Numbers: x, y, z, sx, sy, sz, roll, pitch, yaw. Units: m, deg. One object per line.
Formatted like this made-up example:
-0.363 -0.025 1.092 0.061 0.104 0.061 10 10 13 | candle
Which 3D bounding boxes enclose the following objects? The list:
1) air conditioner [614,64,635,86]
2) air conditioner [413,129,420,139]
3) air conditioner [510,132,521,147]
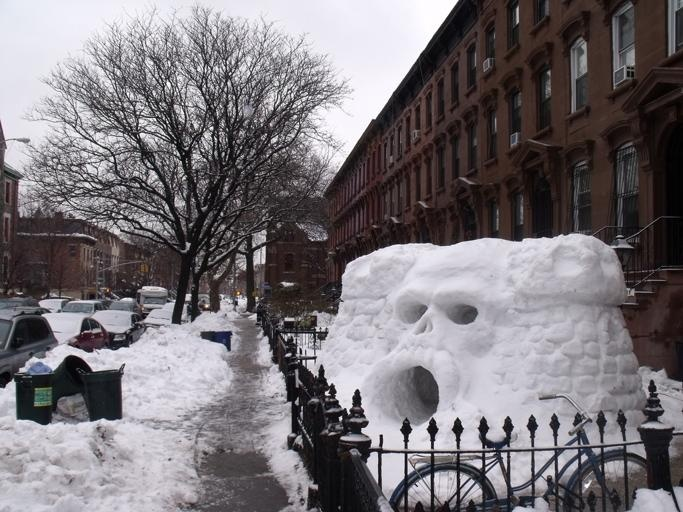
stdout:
7.546 -4.650 18.317 0.349 0.538 0.680 1 -6 -2 | air conditioner
3.726 -6.212 34.321 0.323 0.707 0.661 0 3 -6 | air conditioner
5.981 -3.978 23.584 0.212 0.499 0.436 6 16 -8 | air conditioner
